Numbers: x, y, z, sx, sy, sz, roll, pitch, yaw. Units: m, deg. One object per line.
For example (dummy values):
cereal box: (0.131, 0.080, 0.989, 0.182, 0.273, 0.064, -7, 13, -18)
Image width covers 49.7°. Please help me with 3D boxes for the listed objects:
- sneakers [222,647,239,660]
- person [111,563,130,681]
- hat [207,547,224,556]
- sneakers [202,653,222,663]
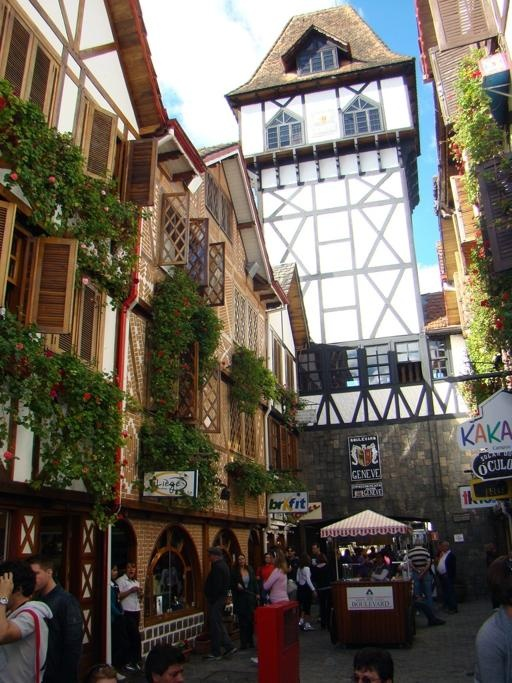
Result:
sneakers: (-0.406, 5.025, 8.893, 0.127, 0.138, 0.343, 13, -36, -11)
person: (-1.913, 3.947, 7.686, 0.177, 1.203, 0.355, -1, -17, -14)
hat: (-0.638, 3.305, 8.658, 0.162, 0.144, 0.176, -7, -17, 3)
sneakers: (-0.674, 4.925, 8.632, 0.284, 0.138, 0.096, 6, -23, 3)
